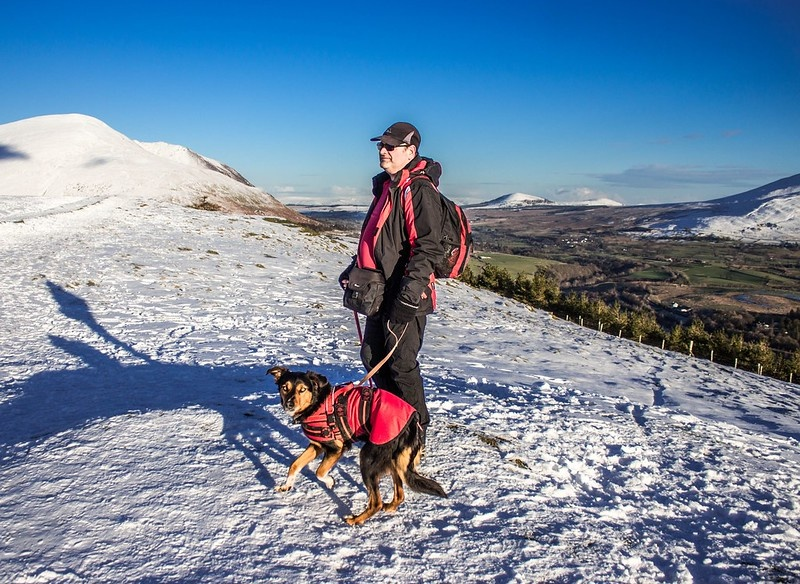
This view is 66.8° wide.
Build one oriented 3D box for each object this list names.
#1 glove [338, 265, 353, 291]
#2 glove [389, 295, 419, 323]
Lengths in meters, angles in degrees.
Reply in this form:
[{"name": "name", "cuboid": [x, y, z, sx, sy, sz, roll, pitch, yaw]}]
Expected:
[{"name": "glove", "cuboid": [-0.778, -0.199, 8.402, 0.212, 0.309, 0.284, 20, 8, 2]}, {"name": "glove", "cuboid": [0.113, 0.247, 8.000, 0.425, 0.284, 0.393, 3, 5, 13]}]
